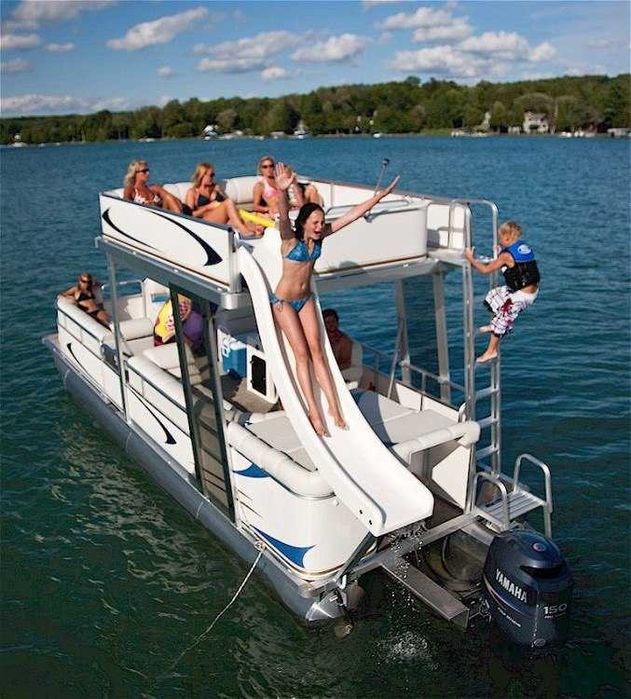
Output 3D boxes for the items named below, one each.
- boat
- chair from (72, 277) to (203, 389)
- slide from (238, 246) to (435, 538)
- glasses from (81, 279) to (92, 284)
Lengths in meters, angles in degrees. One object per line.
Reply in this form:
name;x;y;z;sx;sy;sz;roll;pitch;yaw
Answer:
boat;0.061;-0.088;8.459;2.850;3.465;8.178;-18;29;-37
chair;-2.268;-0.159;9.265;1.323;1.117;1.425;21;30;37
slide;0.192;0.275;5.694;0.699;1.840;1.780;-17;24;-20
glasses;-3.394;-1.011;10.911;0.119;0.093;0.035;3;-15;-10
